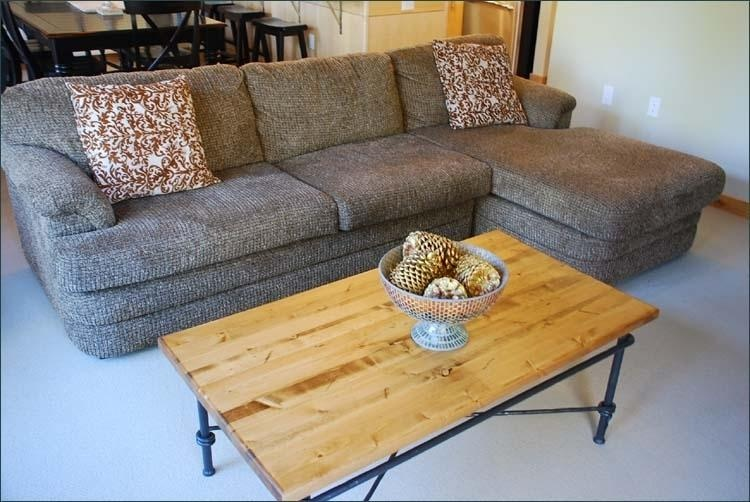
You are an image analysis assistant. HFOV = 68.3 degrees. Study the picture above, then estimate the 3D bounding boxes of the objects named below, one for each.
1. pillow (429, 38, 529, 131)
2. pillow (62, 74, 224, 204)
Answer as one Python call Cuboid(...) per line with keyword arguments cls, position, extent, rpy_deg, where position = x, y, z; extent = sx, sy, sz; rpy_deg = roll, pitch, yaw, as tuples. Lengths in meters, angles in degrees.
Cuboid(cls="pillow", position=(0.650, -1.083, 3.644), extent=(0.682, 0.577, 0.157), rpy_deg=(-11, -4, -26))
Cuboid(cls="pillow", position=(-1.114, -0.544, 2.692), extent=(0.685, 0.592, 0.198), rpy_deg=(-18, 9, -33))
